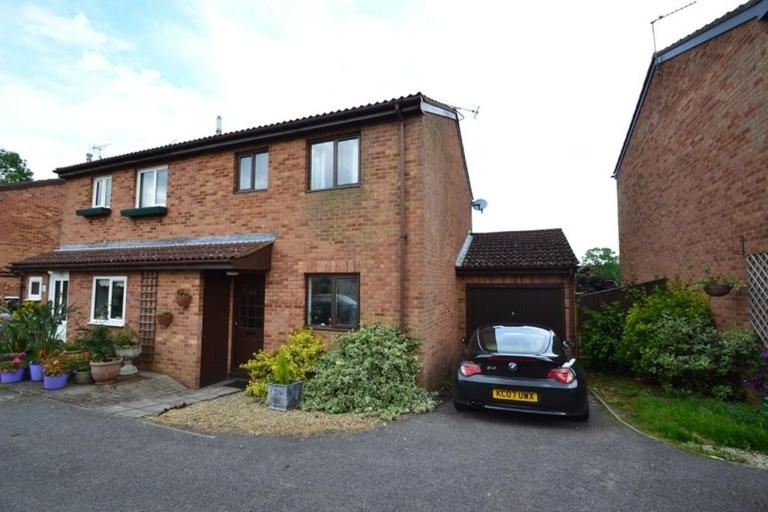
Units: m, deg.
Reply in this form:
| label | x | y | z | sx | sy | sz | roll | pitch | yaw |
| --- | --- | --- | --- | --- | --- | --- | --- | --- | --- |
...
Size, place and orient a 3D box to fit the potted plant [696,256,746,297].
| label | x | y | z | sx | sy | sz | roll | pitch | yaw |
| --- | --- | --- | --- | --- | --- | --- | --- | --- | --- |
| potted plant | 8.674 | 0.549 | 12.870 | 0.899 | 1.073 | 0.972 | -1 | -2 | -14 |

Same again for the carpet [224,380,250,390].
| label | x | y | z | sx | sy | sz | roll | pitch | yaw |
| --- | --- | --- | --- | --- | --- | --- | --- | --- | --- |
| carpet | -4.235 | 3.766 | 14.525 | 0.803 | 0.170 | 0.591 | -5 | -9 | 30 |

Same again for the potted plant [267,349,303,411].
| label | x | y | z | sx | sy | sz | roll | pitch | yaw |
| --- | --- | --- | --- | --- | --- | --- | --- | --- | --- |
| potted plant | -2.594 | 3.271 | 13.002 | 0.823 | 1.354 | 0.815 | -4 | -2 | 42 |
